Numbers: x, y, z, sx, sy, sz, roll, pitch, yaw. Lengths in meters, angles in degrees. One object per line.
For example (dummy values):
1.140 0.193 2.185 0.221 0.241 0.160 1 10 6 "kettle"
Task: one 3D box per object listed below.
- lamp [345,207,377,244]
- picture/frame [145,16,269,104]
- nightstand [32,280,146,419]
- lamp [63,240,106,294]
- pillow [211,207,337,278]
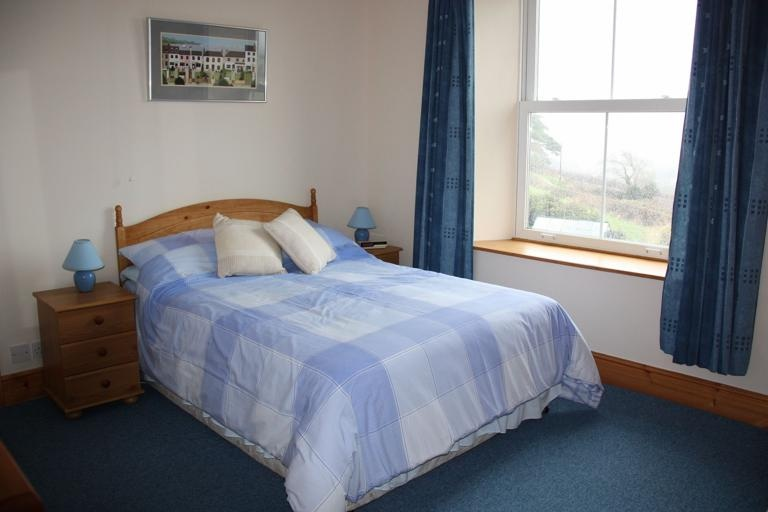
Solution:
-0.217 -0.320 5.492 0.259 0.394 0.265 0 26 -1 "lamp"
-1.557 -1.719 4.838 1.068 0.652 0.097 -9 18 -34 "picture/frame"
-2.265 0.684 4.206 0.684 0.833 0.625 12 16 36 "nightstand"
-2.295 0.071 4.161 0.266 0.381 0.257 6 13 9 "lamp"
-0.919 -0.107 4.587 0.970 0.419 0.499 -3 16 -17 "pillow"
